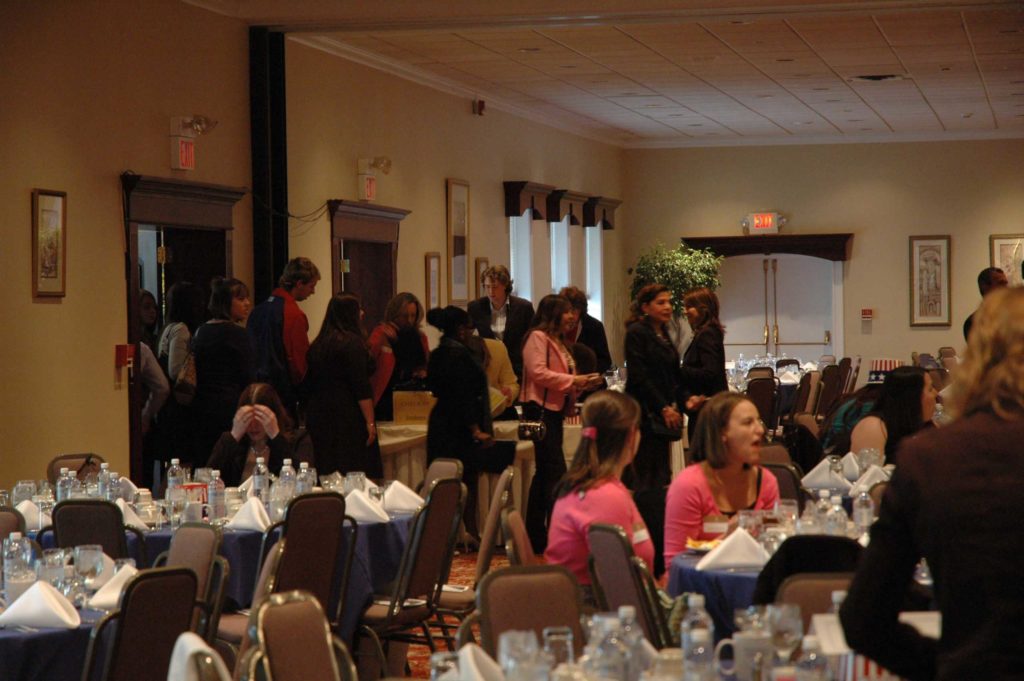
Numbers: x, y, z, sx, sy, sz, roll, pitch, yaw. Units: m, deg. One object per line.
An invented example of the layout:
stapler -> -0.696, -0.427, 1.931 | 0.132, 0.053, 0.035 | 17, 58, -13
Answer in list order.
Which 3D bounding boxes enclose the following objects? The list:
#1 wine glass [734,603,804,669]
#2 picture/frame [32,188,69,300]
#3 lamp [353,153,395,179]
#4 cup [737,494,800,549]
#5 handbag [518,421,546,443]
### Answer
wine glass -> 0.805, 0.904, 2.887 | 0.207, 0.219, 0.212 | 1, -9, -6
picture/frame -> -3.742, -0.757, 7.444 | 0.078, 0.882, 0.327 | 2, 4, 14
lamp -> -1.700, -2.131, 11.270 | 0.391, 0.304, 0.401 | 5, 1, 38
cup -> 1.298, 0.914, 4.537 | 0.255, 0.216, 0.207 | 6, -12, -21
handbag -> 0.172, 0.806, 8.194 | 0.221, 0.180, 0.171 | 3, 6, 22
